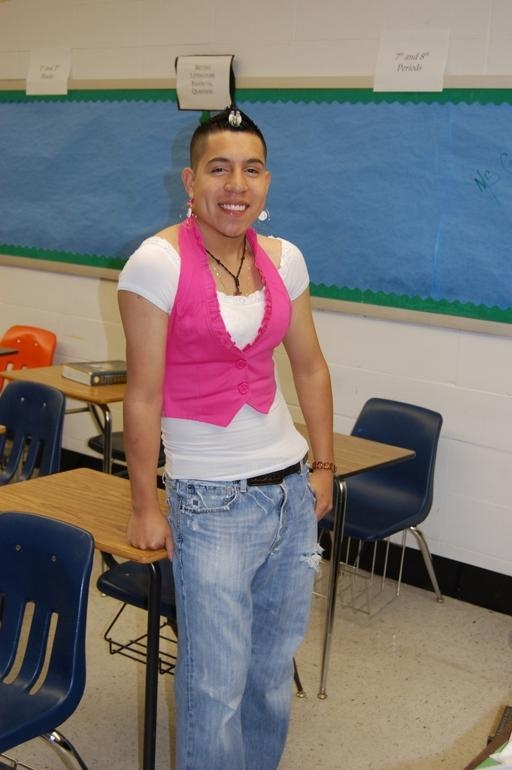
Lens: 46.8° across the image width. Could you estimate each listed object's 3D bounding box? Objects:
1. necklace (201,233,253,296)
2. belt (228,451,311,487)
[{"bbox_3d":[-0.043,-0.187,0.932,0.066,0.099,0.016,-18,-1,-40],"label":"necklace"},{"bbox_3d":[0.016,0.127,0.890,0.051,0.018,0.067,-13,9,26],"label":"belt"}]
